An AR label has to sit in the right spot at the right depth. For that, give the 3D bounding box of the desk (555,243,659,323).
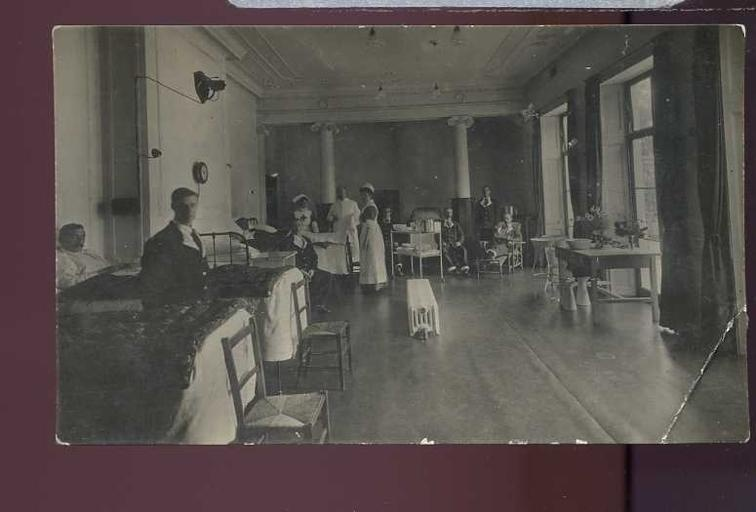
[{"bbox_3d":[1.252,0.228,3.994,0.648,0.468,0.388,-1,-3,2],"label":"desk"}]

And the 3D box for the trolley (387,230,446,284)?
[{"bbox_3d":[0.230,-0.027,3.928,0.316,0.314,0.232,2,12,12],"label":"trolley"}]

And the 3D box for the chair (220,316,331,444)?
[{"bbox_3d":[-0.568,0.629,4.276,0.652,1.068,0.578,-2,8,0],"label":"chair"}]

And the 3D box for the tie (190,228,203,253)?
[{"bbox_3d":[-0.949,-0.082,3.765,0.069,0.125,0.029,-9,7,15],"label":"tie"}]

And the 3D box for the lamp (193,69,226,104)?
[{"bbox_3d":[-0.888,-0.889,3.796,0.167,0.165,0.052,-3,0,-10],"label":"lamp"}]
